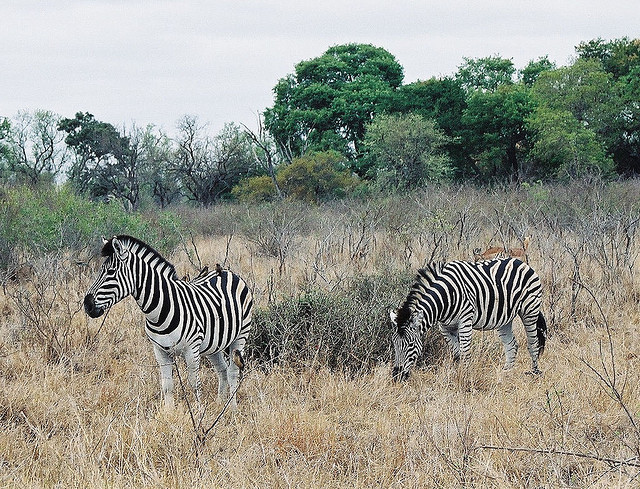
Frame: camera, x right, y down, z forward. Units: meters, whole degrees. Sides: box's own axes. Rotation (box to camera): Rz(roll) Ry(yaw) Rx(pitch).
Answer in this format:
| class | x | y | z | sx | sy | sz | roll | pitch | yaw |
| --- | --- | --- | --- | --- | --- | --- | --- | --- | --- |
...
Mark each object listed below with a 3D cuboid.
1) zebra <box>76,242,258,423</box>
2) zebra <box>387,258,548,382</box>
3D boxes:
| class | x | y | z | sx | sy | sz | roll | pitch | yaw |
| --- | --- | --- | --- | --- | --- | --- | --- | --- | --- |
| zebra | -2.140 | 1.238 | 12.385 | 2.391 | 2.561 | 2.389 | 1 | 3 | 5 |
| zebra | 2.488 | 1.263 | 13.299 | 2.676 | 2.079 | 0.854 | -6 | 7 | -16 |
